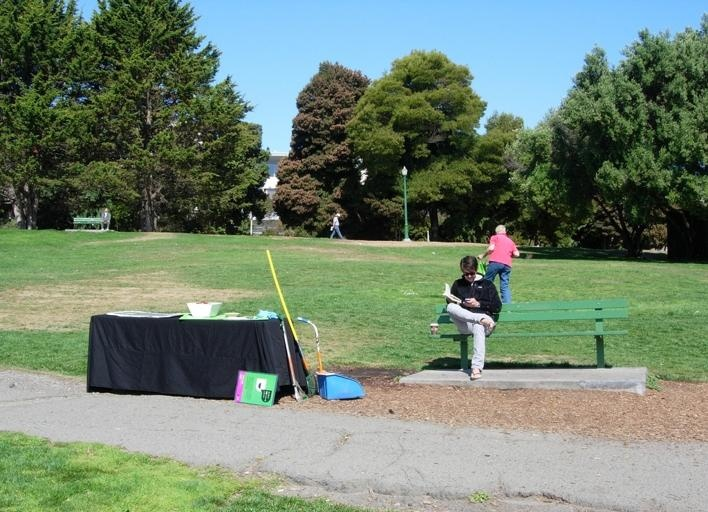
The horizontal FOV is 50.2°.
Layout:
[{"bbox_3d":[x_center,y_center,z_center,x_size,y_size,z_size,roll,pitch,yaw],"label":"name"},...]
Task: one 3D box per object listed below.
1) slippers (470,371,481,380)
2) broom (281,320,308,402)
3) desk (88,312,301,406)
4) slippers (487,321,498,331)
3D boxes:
[{"bbox_3d":[2.026,1.982,12.612,0.194,0.134,0.233,1,0,9],"label":"slippers"},{"bbox_3d":[-0.969,1.659,12.261,0.436,1.223,0.393,1,0,-4],"label":"broom"},{"bbox_3d":[-2.672,1.623,12.788,3.545,1.346,1.325,2,3,12],"label":"desk"},{"bbox_3d":[2.419,1.225,13.256,0.140,0.180,0.422,1,4,12],"label":"slippers"}]
